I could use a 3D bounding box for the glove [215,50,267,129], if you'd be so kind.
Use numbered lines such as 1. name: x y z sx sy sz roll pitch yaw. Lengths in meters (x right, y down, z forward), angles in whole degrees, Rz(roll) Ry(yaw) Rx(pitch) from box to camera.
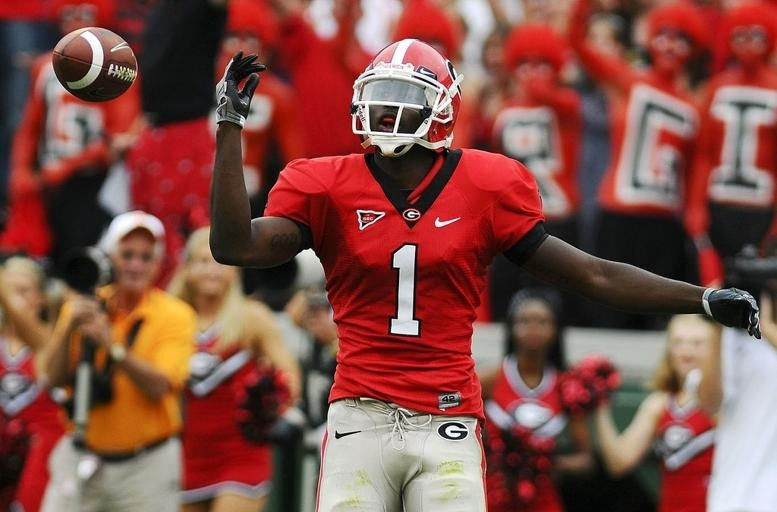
1. glove: -0.937 -1.037 8.016 0.340 0.494 0.226 -4 -27 -11

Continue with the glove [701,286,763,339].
1. glove: 2.172 0.336 8.128 0.375 0.181 0.266 34 -2 0
